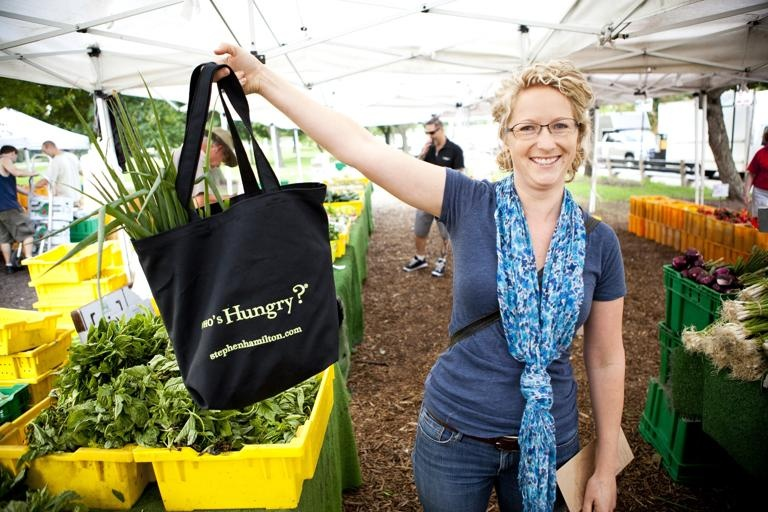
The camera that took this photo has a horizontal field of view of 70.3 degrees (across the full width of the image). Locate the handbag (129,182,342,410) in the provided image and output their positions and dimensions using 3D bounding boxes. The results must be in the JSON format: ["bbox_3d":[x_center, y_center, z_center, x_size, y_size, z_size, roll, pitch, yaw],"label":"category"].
[{"bbox_3d":[-0.526,0.162,1.991,0.688,0.782,0.144,-5,12,-8],"label":"handbag"}]

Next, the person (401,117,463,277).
[{"bbox_3d":[0.686,-0.873,7.849,0.980,2.349,0.839,1,-2,-4],"label":"person"}]

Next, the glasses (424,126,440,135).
[{"bbox_3d":[0.647,-1.712,7.419,0.115,0.118,0.038,-3,-27,-9],"label":"glasses"}]

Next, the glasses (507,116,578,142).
[{"bbox_3d":[0.670,-0.530,2.291,0.276,0.081,0.088,-1,12,14],"label":"glasses"}]
